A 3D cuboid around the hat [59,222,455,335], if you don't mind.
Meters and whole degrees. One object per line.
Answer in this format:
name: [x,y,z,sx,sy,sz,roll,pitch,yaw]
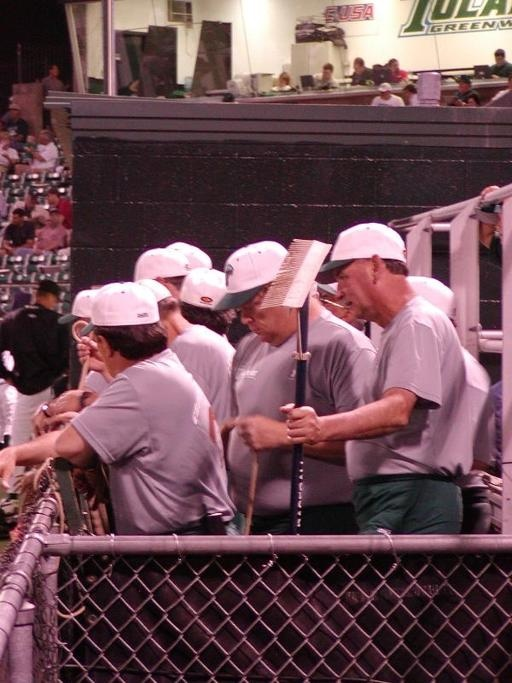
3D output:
hat: [0.333,-0.244,3.610,0.721,0.320,0.404,11,7,2]
